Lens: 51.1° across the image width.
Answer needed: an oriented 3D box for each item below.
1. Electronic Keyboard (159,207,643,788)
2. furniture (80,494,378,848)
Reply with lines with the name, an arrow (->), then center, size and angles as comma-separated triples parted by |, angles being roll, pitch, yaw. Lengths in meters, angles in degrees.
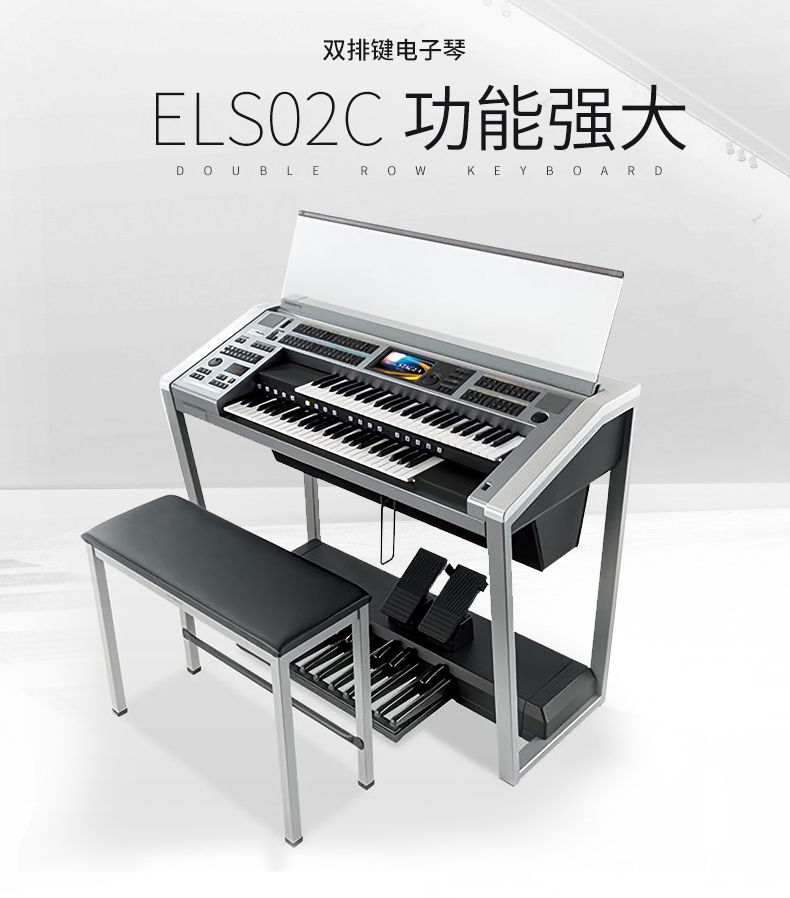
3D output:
Electronic Keyboard -> -0.024, 0.088, 2.289 | 0.554, 1.240, 1.298 | -24, 33, -39
furniture -> -0.441, 0.604, 2.116 | 0.672, 0.519, 0.254 | 28, 45, 30
